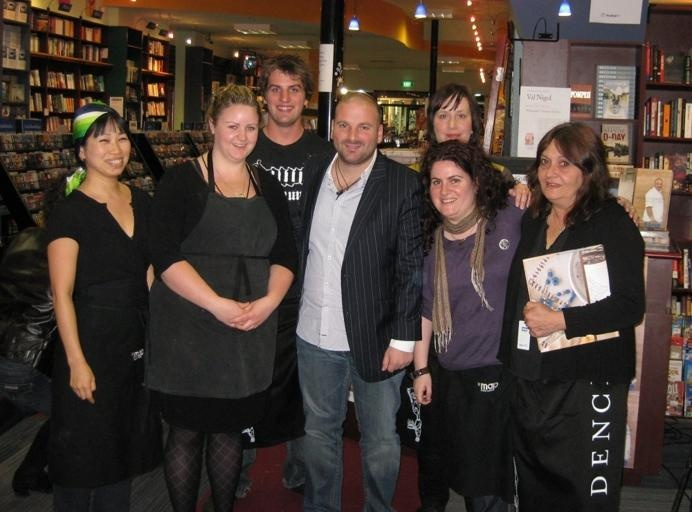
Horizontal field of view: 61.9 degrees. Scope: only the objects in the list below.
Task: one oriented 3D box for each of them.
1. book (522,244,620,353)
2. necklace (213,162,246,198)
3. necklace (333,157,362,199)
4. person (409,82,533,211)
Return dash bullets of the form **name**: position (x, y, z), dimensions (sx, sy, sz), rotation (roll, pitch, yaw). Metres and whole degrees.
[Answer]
- **book**: position (0.922, 0.154, 2.402), dimensions (0.405, 0.418, 0.101), rotation (-13, 0, 23)
- **necklace**: position (-0.499, -0.316, 2.565), dimensions (0.119, 0.162, 0.038), rotation (-4, -33, -30)
- **necklace**: position (-0.008, -0.368, 2.727), dimensions (0.124, 0.185, 0.045), rotation (1, 5, 29)
- **person**: position (0.607, -0.494, 3.150), dimensions (0.610, 0.872, 0.343), rotation (2, -18, 10)
